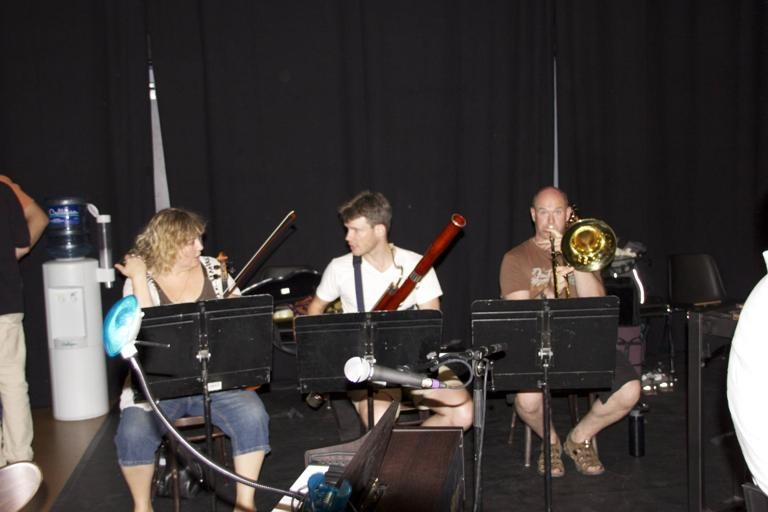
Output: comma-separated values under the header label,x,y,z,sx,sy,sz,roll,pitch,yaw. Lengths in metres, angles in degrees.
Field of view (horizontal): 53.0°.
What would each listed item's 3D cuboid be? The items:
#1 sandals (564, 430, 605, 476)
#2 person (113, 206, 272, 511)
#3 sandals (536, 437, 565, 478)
label,x,y,z,sx,sy,sz,roll,pitch,yaw
sandals,1.620,1.574,6.253,0.210,0.196,0.465,-2,18,-11
person,-1.420,0.749,5.648,1.063,2.257,0.724,0,-3,-12
sandals,1.368,1.608,6.253,0.217,0.186,0.508,-3,10,15
